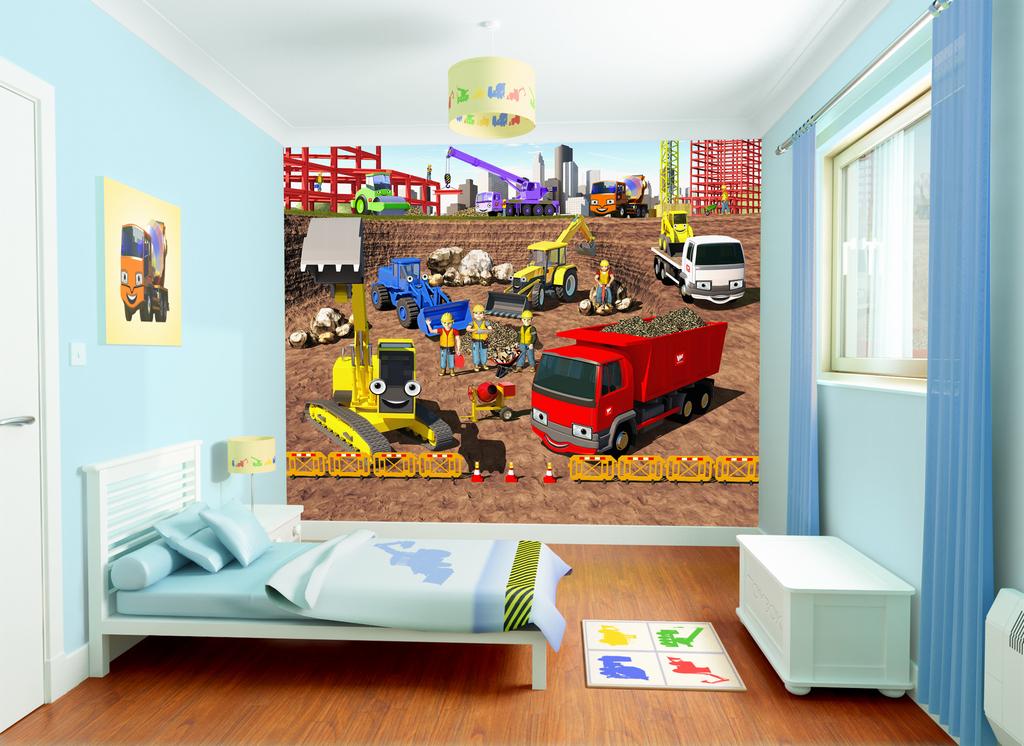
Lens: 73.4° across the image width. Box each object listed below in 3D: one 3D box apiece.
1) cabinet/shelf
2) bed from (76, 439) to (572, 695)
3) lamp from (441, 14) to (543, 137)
[{"bbox_3d":[1.623,1.201,3.595,0.557,0.471,0.963,1,4,3],"label":"cabinet/shelf"},{"bbox_3d":[-1.057,0.913,3.848,2.046,0.997,1.240,-1,3,-2],"label":"bed"},{"bbox_3d":[-0.112,-1.634,3.963,0.607,0.666,0.621,0,-1,2],"label":"lamp"}]
